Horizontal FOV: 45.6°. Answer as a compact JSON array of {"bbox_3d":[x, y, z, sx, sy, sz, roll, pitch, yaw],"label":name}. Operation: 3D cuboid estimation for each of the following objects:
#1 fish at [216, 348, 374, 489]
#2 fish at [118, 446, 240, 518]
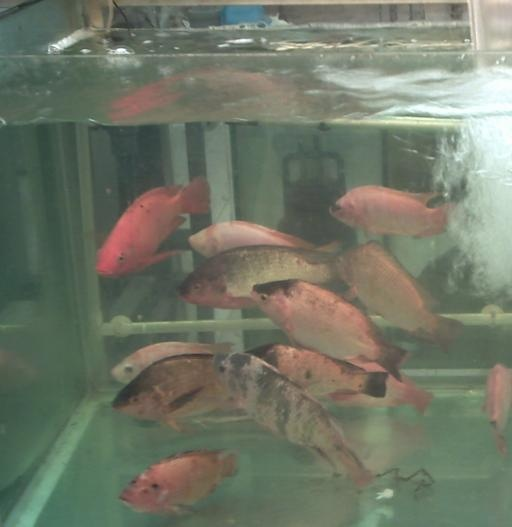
[{"bbox_3d":[0.109,0.398,1.567,0.091,0.523,0.180,-55,-8,-44],"label":"fish"},{"bbox_3d":[-0.138,0.524,1.541,0.356,0.119,0.103,-8,13,-26],"label":"fish"}]
